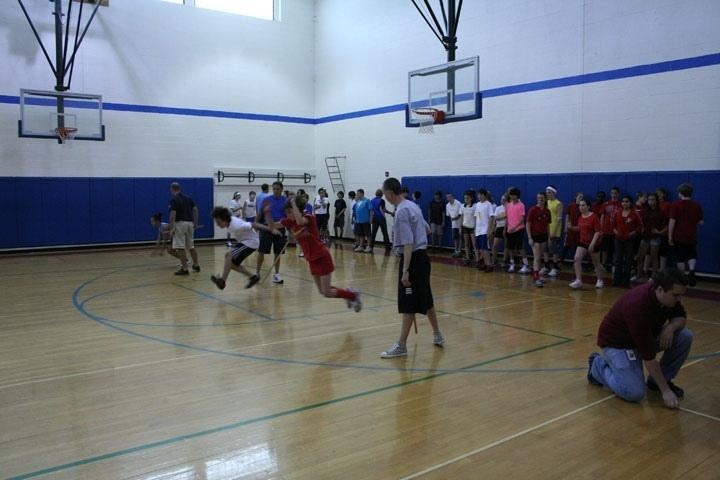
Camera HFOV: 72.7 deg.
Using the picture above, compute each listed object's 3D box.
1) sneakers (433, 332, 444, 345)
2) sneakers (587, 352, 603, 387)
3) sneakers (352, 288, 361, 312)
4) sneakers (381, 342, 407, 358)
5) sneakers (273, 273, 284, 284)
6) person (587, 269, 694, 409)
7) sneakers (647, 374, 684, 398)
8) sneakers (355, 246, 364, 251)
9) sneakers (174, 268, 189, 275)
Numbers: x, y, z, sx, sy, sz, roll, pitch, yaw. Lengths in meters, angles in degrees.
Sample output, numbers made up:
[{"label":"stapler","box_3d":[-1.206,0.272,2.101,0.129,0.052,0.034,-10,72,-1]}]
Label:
[{"label":"sneakers","box_3d":[1.157,1.462,7.212,0.090,0.117,0.252,-9,1,-4]},{"label":"sneakers","box_3d":[2.953,1.632,6.198,0.236,0.337,0.115,0,3,2]},{"label":"sneakers","box_3d":[-0.069,1.039,8.421,0.135,0.366,0.149,0,3,23]},{"label":"sneakers","box_3d":[0.500,1.568,6.977,0.432,0.195,0.151,0,-3,-12]},{"label":"sneakers","box_3d":[-1.857,0.878,11.086,0.127,0.144,0.300,1,-3,-25]},{"label":"person","box_3d":[3.374,1.079,5.762,0.994,1.661,0.698,0,12,2]},{"label":"sneakers","box_3d":[3.735,1.800,6.076,0.155,0.203,0.451,-9,7,-39]},{"label":"sneakers","box_3d":[-0.027,0.287,16.155,0.359,0.163,0.124,2,0,3]},{"label":"sneakers","box_3d":[-4.264,0.744,11.725,0.320,0.147,0.152,3,-1,2]}]
